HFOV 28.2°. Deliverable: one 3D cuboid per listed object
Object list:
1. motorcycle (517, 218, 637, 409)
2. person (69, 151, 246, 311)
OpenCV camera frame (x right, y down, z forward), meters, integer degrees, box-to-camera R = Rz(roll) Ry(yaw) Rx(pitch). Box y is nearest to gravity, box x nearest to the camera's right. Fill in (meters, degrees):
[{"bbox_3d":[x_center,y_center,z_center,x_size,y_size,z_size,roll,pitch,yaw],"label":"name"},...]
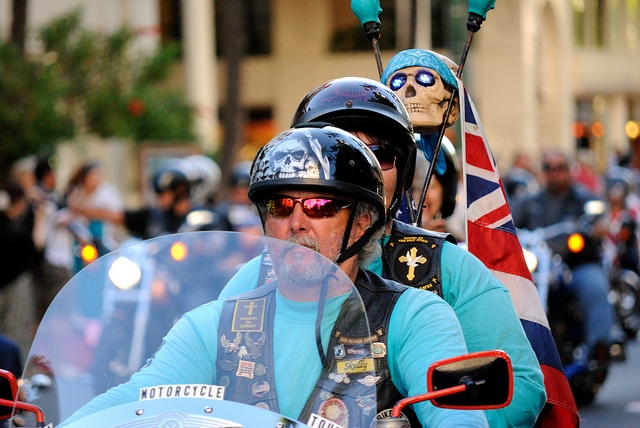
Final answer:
[{"bbox_3d":[2.413,1.106,13.343,1.261,1.607,2.397,-16,-7,25],"label":"motorcycle"},{"bbox_3d":[-1.751,-0.106,14.806,0.994,0.962,1.652,-9,-4,32],"label":"person"}]
